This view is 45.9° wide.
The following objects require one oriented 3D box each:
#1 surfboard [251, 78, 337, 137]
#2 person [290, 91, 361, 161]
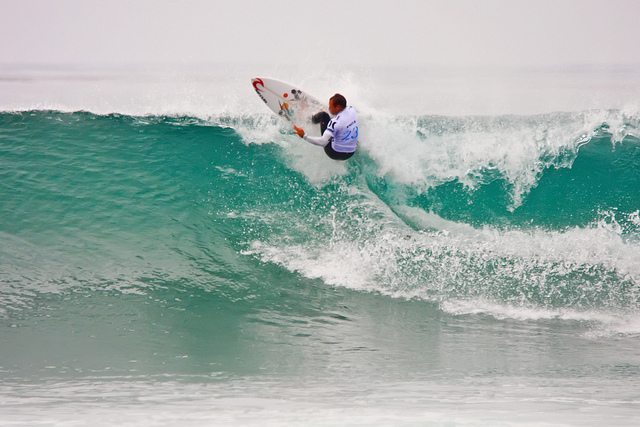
[{"bbox_3d":[-0.647,-2.475,17.512,1.722,1.372,0.313,2,16,24],"label":"surfboard"},{"bbox_3d":[0.274,-1.866,16.721,1.258,1.533,1.500,-3,13,3],"label":"person"}]
